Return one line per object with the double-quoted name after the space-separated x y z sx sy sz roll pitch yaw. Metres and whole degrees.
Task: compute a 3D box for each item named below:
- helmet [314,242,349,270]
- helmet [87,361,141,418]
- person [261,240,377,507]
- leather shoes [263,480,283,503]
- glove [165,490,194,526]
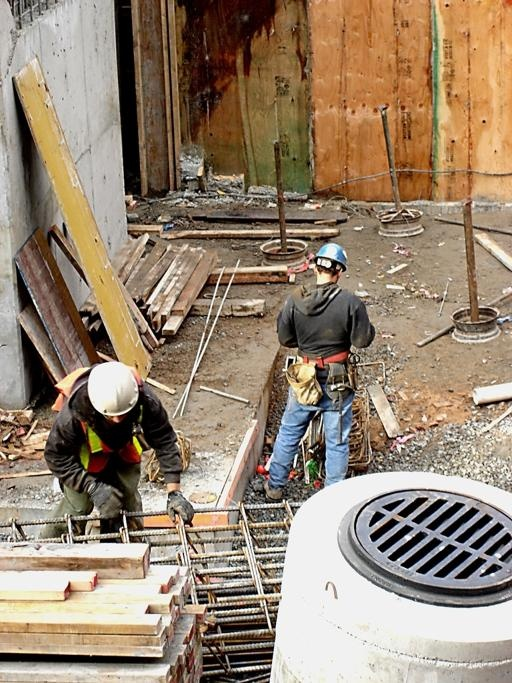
0.511 -0.565 5.564 0.192 0.188 0.246 2 16 34 "helmet"
-0.696 0.242 4.044 0.258 0.256 0.286 -10 14 -9 "helmet"
0.432 0.207 5.885 0.743 1.900 0.688 2 19 7 "person"
0.128 1.145 6.163 0.081 0.132 0.202 -2 36 -10 "leather shoes"
-0.387 0.834 4.122 0.112 0.066 0.178 -5 40 -24 "glove"
